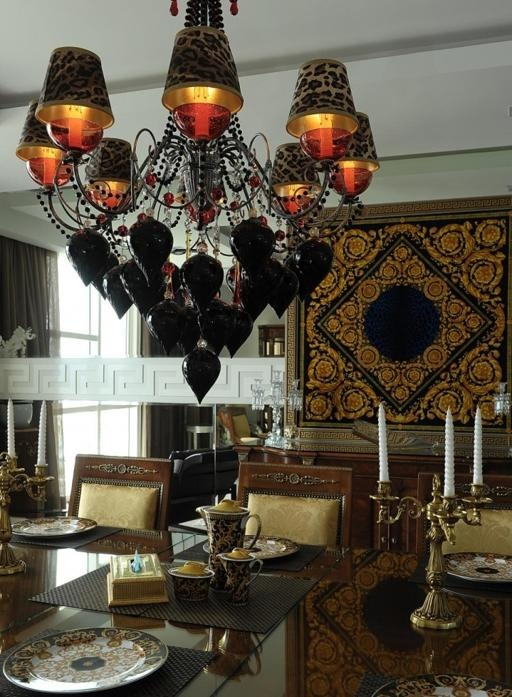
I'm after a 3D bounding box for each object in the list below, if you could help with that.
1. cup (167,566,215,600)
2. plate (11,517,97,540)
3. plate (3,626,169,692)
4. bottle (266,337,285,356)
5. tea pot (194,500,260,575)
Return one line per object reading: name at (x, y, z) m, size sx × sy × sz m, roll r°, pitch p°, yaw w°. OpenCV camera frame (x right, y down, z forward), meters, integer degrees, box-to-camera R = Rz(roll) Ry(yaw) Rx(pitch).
cup at (-0.135, 0.504, 1.438) m, size 0.075 × 0.040 × 0.068 m, roll 4°, pitch -9°, yaw -22°
plate at (-0.622, 0.559, 2.051) m, size 0.172 × 0.015 × 0.155 m, roll 1°, pitch -1°, yaw -14°
plate at (-0.276, 0.508, 1.082) m, size 0.258 × 0.023 × 0.225 m, roll 2°, pitch -3°, yaw -13°
bottle at (0.130, -0.017, 4.321) m, size 0.127 × 0.104 × 0.071 m, roll -5°, pitch -9°, yaw 42°
tea pot at (-0.062, 0.438, 1.586) m, size 0.202 × 0.163 × 0.126 m, roll 2°, pitch -6°, yaw 14°
